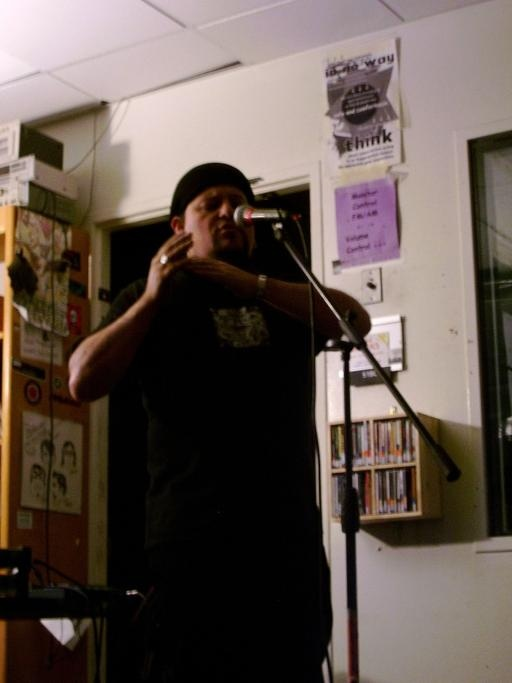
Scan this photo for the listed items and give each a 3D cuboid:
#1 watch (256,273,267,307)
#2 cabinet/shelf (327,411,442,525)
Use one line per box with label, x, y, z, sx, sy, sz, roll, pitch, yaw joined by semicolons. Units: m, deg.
watch;0.009;-0.089;1.157;0.022;0.034;0.029;2;-10;-1
cabinet/shelf;0.397;0.385;2.084;0.326;0.430;0.126;-5;-13;32
